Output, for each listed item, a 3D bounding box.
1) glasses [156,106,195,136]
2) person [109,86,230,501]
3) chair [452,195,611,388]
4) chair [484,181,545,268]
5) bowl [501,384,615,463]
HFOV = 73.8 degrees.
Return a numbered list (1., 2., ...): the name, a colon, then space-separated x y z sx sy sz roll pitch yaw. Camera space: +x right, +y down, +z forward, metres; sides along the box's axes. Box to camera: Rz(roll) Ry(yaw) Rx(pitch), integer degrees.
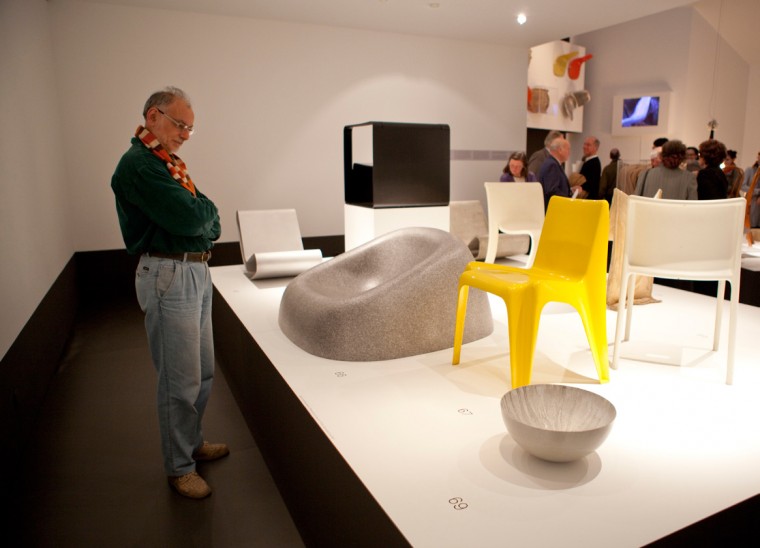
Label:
1. glasses: -1.020 -0.757 2.509 0.039 0.131 0.126 -40 4 6
2. person: -1.032 0.121 2.595 0.496 2.057 0.436 -6 15 -29
3. chair: 0.955 0.071 3.123 0.785 1.094 0.838 -5 10 -31
4. chair: 1.545 -0.435 5.532 0.630 0.932 0.735 4 8 12
5. bowl: 0.811 0.651 2.289 0.373 0.175 0.374 1 9 0
